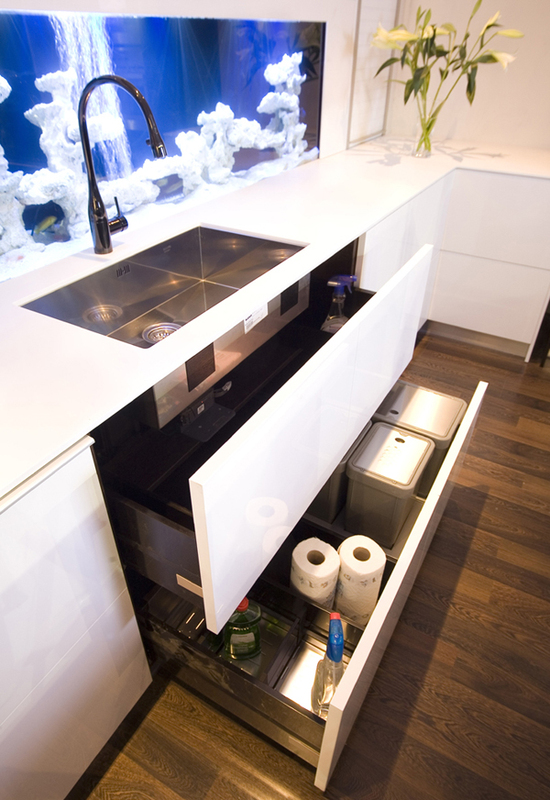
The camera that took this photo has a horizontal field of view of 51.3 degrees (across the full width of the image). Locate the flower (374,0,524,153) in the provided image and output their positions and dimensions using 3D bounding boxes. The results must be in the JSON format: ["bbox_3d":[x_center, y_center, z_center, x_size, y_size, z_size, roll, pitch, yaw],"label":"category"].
[{"bbox_3d":[0.798,-1.443,2.537,0.454,0.492,0.464,-16,52,-22],"label":"flower"}]

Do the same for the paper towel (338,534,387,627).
[{"bbox_3d":[0.195,0.407,1.280,0.124,0.235,0.133,10,43,14],"label":"paper towel"}]

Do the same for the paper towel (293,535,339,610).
[{"bbox_3d":[0.096,0.412,1.329,0.116,0.128,0.113,11,33,15],"label":"paper towel"}]

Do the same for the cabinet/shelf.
[{"bbox_3d":[0.020,0.267,1.237,0.479,0.670,0.945,22,50,21],"label":"cabinet/shelf"}]

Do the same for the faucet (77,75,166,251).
[{"bbox_3d":[-0.361,-0.546,1.339,0.192,0.375,0.329,-11,34,-13],"label":"faucet"}]
